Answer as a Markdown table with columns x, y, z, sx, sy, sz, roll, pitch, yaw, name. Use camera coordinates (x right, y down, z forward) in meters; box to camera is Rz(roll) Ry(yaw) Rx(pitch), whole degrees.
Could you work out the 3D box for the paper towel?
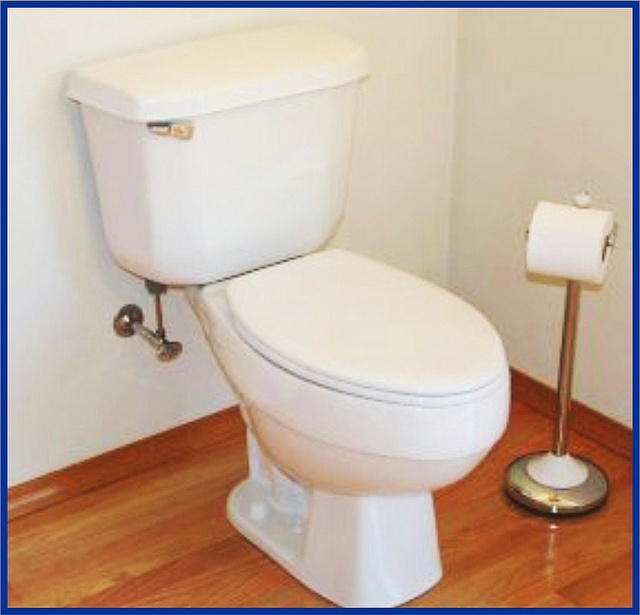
| x | y | z | sx | sy | sz | roll | pitch | yaw | name |
| --- | --- | --- | --- | --- | --- | --- | --- | --- | --- |
| 0.371 | -0.097 | 1.040 | 0.124 | 0.082 | 0.120 | 10 | 54 | 40 | paper towel |
